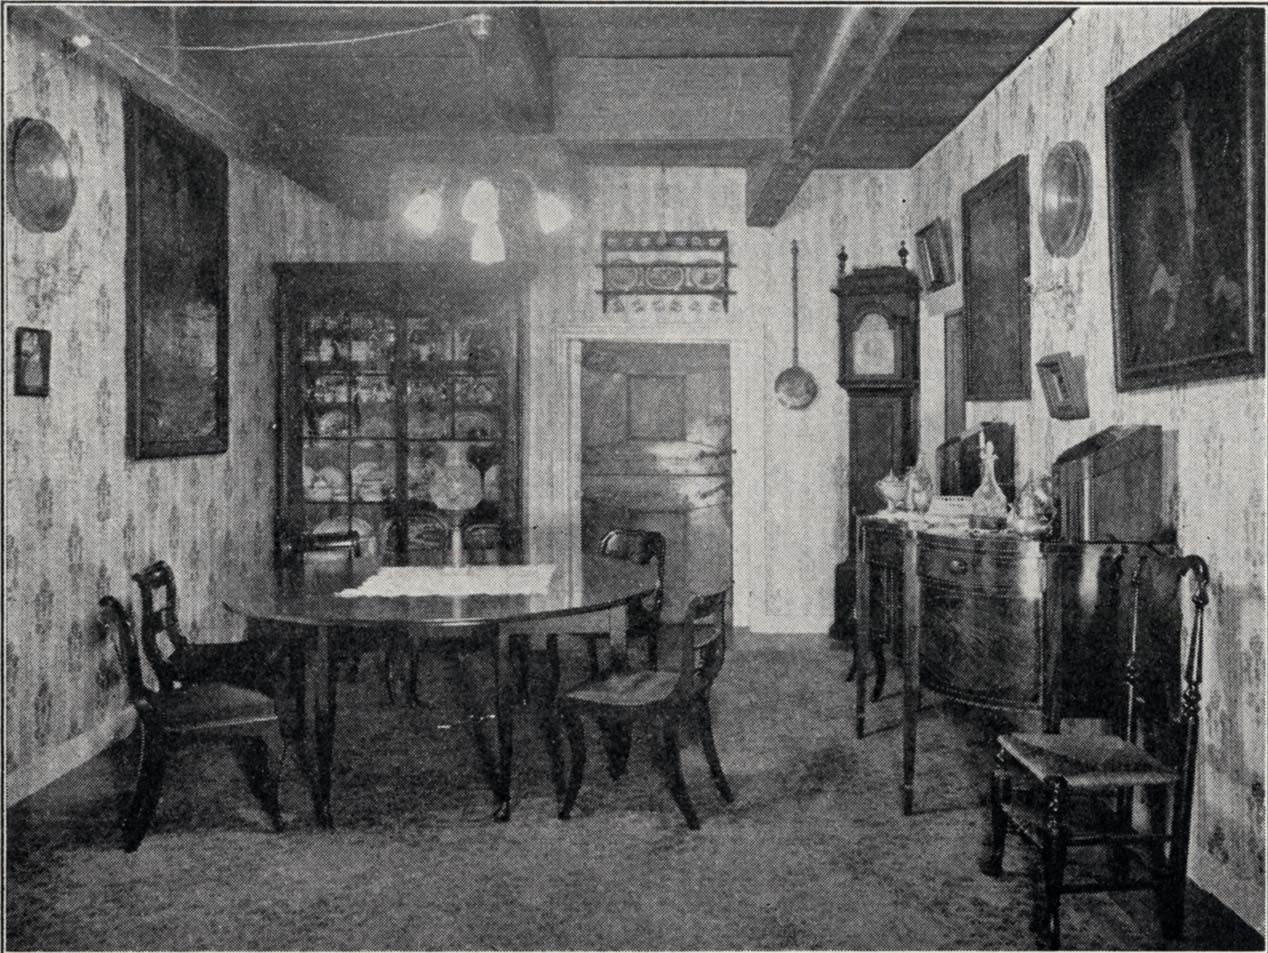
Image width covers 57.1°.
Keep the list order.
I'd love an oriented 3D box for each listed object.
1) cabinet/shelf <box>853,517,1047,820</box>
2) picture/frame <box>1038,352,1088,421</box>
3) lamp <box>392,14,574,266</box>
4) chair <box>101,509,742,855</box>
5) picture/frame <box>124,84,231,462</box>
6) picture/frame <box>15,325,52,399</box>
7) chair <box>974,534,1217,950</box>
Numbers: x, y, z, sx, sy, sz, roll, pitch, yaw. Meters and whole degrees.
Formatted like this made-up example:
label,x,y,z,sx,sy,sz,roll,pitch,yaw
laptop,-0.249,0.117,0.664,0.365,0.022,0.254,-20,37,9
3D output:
label,x,y,z,sx,sy,sz,roll,pitch,yaw
cabinet/shelf,1.101,0.663,3.984,0.330,0.940,0.907,0,0,-18
picture/frame,1.546,-0.324,4.221,0.088,0.246,0.240,-1,0,-11
lamp,-0.509,-1.200,4.391,0.692,0.892,0.813,1,-1,7
chair,-0.690,0.500,4.011,1.431,0.753,1.154,-2,5,-4
picture/frame,-1.758,-0.765,4.617,0.208,1.249,0.561,-1,1,24
picture/frame,-2.054,-0.393,3.966,0.032,0.267,0.235,2,0,15
chair,1.447,0.809,3.658,0.659,1.168,0.552,-2,1,-15
